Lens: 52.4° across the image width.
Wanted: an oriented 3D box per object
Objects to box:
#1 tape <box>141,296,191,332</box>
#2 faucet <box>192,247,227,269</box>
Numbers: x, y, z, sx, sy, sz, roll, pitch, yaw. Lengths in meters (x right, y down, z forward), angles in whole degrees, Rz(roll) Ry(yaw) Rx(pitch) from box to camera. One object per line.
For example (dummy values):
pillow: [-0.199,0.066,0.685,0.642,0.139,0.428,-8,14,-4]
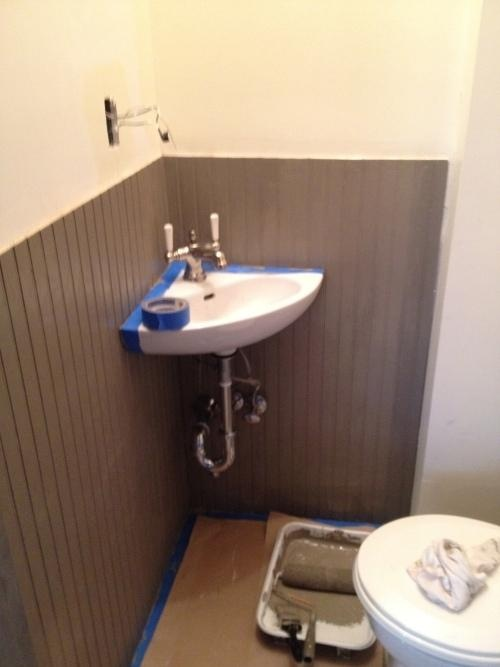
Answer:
tape: [-0.191,-0.048,1.145,0.123,0.049,0.104,18,34,34]
faucet: [-0.114,-0.205,1.381,0.028,0.057,0.110,-25,32,-32]
